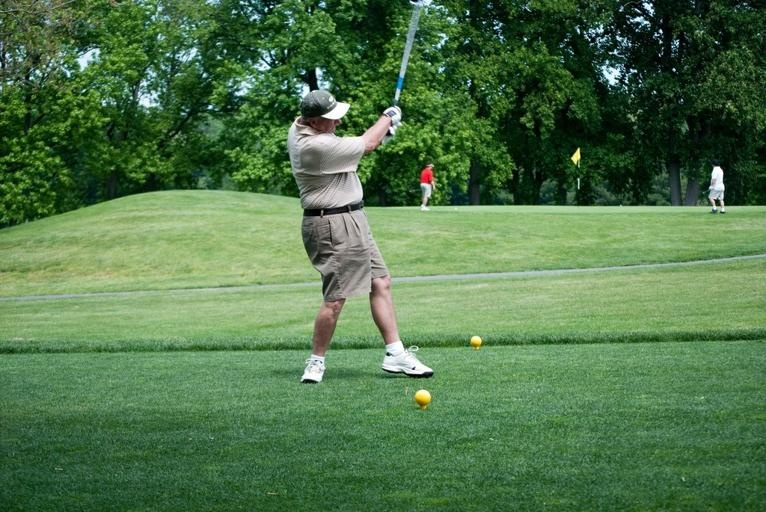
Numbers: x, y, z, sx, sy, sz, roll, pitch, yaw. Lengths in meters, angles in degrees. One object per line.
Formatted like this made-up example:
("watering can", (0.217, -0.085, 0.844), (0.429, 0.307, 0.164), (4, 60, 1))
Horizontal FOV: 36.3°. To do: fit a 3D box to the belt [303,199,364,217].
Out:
("belt", (-1.182, -1.103, 27.286), (1.371, 0.315, 0.216), (-2, 12, -2))
